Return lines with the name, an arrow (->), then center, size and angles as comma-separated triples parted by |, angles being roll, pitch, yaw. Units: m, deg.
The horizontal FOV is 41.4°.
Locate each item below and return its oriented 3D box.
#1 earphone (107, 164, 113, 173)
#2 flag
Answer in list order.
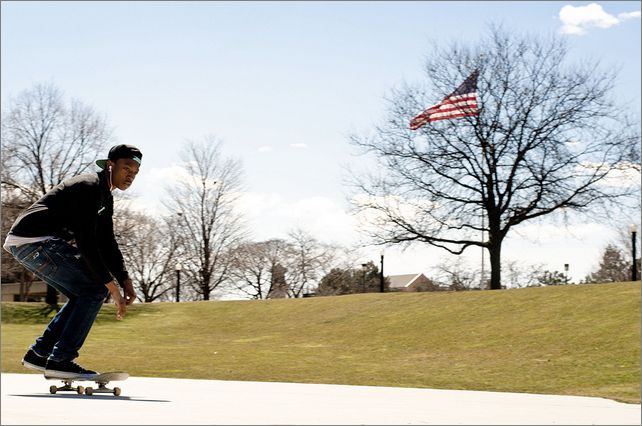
earphone -> -4.102, -0.881, 16.470 | 0.138, 0.115, 0.049 | -2, -11, -19
flag -> 5.182, -4.876, 36.147 | 4.045, 1.976, 0.191 | -14, 29, -37
